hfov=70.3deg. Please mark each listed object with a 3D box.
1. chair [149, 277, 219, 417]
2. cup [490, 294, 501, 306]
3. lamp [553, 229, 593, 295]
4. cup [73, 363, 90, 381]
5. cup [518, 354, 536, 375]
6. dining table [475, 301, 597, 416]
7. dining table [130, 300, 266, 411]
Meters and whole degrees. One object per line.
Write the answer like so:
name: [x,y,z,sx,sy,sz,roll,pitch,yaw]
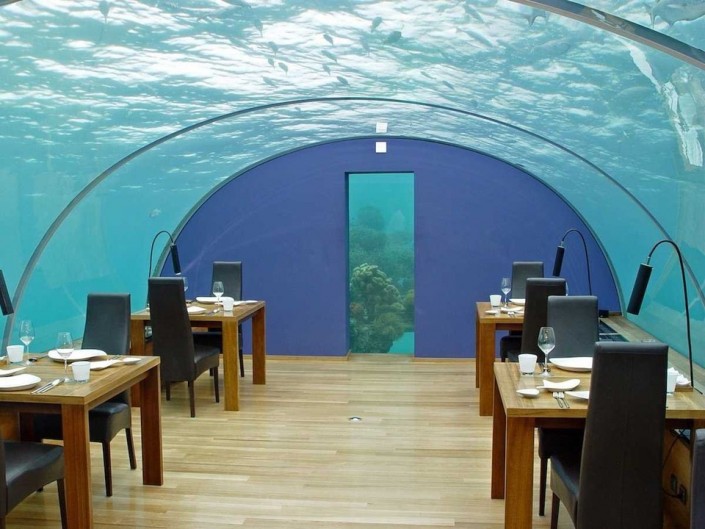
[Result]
chair: [-1.741,0.799,5.178,0.518,1.371,0.538,1,6,16]
cup: [1.584,0.392,5.555,0.125,0.142,0.123,0,7,0]
lamp: [2.720,0.005,6.152,0.440,0.870,1.417,2,6,25]
cup: [-1.627,0.638,3.001,0.100,0.108,0.121,1,-4,-9]
cup: [1.104,0.634,3.209,0.138,0.110,0.122,0,1,7]
dining table: [1.712,0.956,5.346,0.973,0.890,0.953,0,1,-2]
dining table: [-1.669,0.888,5.630,1.195,0.964,1.175,1,4,8]
